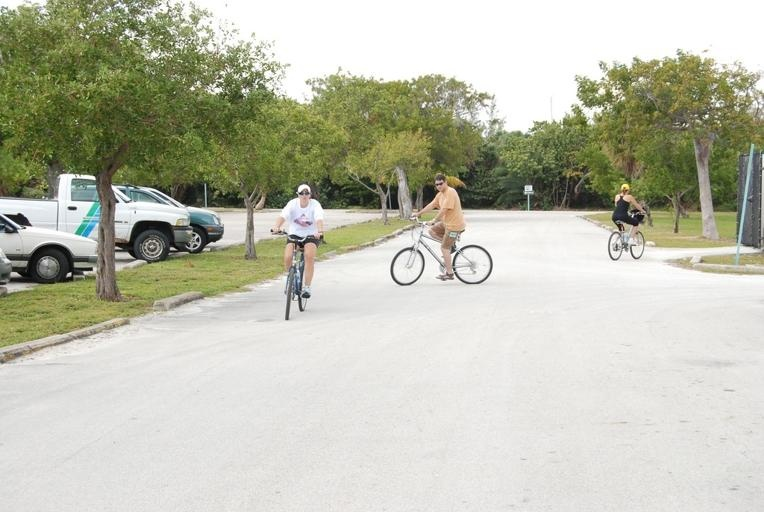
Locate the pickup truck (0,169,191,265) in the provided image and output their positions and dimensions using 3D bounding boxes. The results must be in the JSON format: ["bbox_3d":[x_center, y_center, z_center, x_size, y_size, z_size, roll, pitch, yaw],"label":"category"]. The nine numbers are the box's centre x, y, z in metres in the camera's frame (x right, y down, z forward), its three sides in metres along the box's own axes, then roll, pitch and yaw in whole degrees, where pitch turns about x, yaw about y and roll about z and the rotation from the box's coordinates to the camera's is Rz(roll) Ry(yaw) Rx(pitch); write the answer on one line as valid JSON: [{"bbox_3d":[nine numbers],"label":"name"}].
[{"bbox_3d":[-7.899,-1.078,22.236,5.386,2.085,2.394,0,4,-14],"label":"pickup truck"}]

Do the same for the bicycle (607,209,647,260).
[{"bbox_3d":[7.329,-0.459,22.889,1.332,1.122,0.708,-5,9,-29],"label":"bicycle"}]

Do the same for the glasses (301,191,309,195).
[{"bbox_3d":[-1.380,-1.119,13.657,0.148,0.072,0.086,1,8,7],"label":"glasses"}]

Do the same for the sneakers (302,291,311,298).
[{"bbox_3d":[-1.353,0.688,13.690,0.149,0.089,0.233,1,-2,2],"label":"sneakers"}]

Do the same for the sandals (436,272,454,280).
[{"bbox_3d":[1.466,0.464,17.515,0.278,0.115,0.183,2,-1,-13],"label":"sandals"}]

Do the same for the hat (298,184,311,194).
[{"bbox_3d":[-1.387,-1.182,13.697,0.149,0.197,0.199,-1,-1,0],"label":"hat"}]
